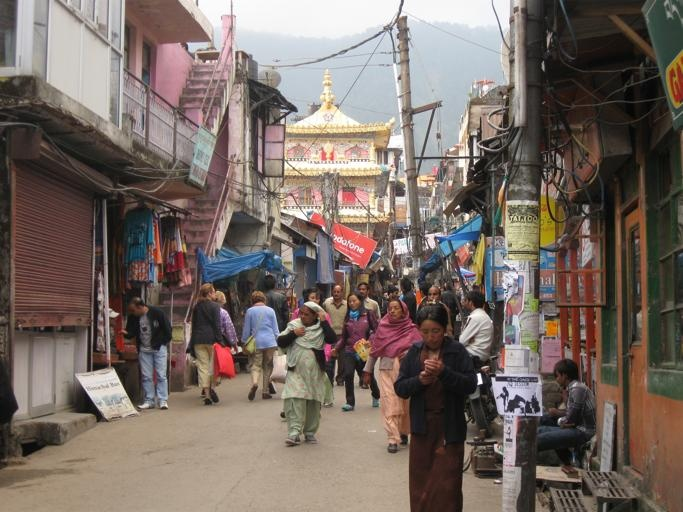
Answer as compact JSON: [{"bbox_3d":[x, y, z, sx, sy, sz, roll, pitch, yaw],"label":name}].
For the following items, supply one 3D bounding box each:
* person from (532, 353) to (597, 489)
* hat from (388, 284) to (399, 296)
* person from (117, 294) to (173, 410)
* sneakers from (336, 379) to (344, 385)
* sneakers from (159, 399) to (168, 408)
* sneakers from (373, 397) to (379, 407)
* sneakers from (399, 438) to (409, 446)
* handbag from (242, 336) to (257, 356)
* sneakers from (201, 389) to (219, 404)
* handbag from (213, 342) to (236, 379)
[{"bbox_3d":[2.780,2.018,10.813,0.679,1.483,0.768,-3,-4,29],"label":"person"},{"bbox_3d":[1.264,0.832,21.498,0.256,0.289,0.240,-5,1,33],"label":"hat"},{"bbox_3d":[-3.403,1.711,15.363,0.738,1.931,0.493,-1,-7,-16],"label":"person"},{"bbox_3d":[-0.042,2.708,18.779,0.121,0.119,0.103,-7,-1,30],"label":"sneakers"},{"bbox_3d":[-3.132,2.601,15.313,0.163,0.169,0.422,-2,-9,-12],"label":"sneakers"},{"bbox_3d":[0.600,2.577,15.385,0.124,0.134,0.231,0,-10,0],"label":"sneakers"},{"bbox_3d":[0.871,2.551,12.011,0.080,0.151,0.142,-2,-11,11],"label":"sneakers"},{"bbox_3d":[-1.732,1.670,16.399,0.246,0.328,0.170,-13,-33,30],"label":"handbag"},{"bbox_3d":[-2.401,2.608,15.951,0.174,0.239,0.541,-1,-23,2],"label":"sneakers"},{"bbox_3d":[-2.140,1.865,15.692,0.291,0.800,0.701,-4,-7,23],"label":"handbag"}]
